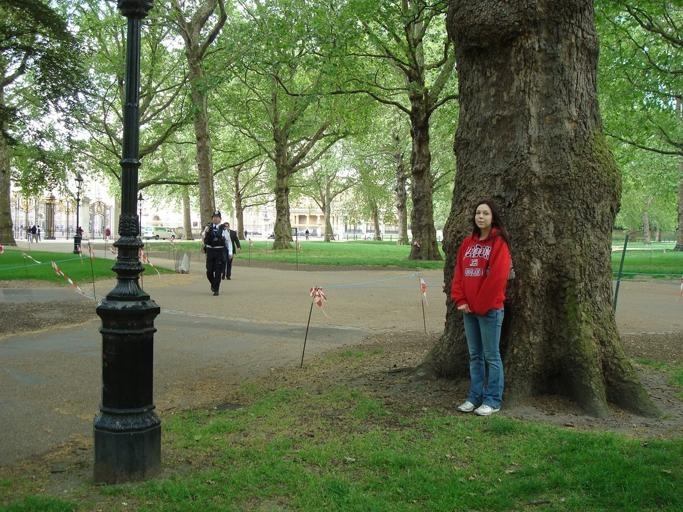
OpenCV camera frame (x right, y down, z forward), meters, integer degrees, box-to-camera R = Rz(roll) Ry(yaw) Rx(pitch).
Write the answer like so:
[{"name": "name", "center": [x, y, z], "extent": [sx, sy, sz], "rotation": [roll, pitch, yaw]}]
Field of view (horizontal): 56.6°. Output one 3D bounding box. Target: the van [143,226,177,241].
[{"name": "van", "center": [-24.551, -2.989, 85.494], "extent": [4.488, 2.270, 2.796], "rotation": [-4, 7, -14]}]

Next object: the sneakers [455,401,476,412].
[{"name": "sneakers", "center": [1.541, 1.866, 7.908], "extent": [0.221, 0.116, 0.187], "rotation": [1, 0, 14]}]

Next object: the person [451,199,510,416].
[{"name": "person", "center": [1.716, 0.623, 7.949], "extent": [0.709, 2.160, 0.538], "rotation": [1, 0, 24]}]

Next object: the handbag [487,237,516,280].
[{"name": "handbag", "center": [2.039, 0.057, 7.986], "extent": [0.190, 0.394, 0.494], "rotation": [1, 0, 31]}]

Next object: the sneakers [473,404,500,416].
[{"name": "sneakers", "center": [1.756, 1.894, 7.762], "extent": [0.289, 0.122, 0.109], "rotation": [-3, 31, 5]}]

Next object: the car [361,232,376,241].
[{"name": "car", "center": [4.454, -3.513, 104.156], "extent": [1.834, 1.953, 3.396], "rotation": [-4, 0, 10]}]
